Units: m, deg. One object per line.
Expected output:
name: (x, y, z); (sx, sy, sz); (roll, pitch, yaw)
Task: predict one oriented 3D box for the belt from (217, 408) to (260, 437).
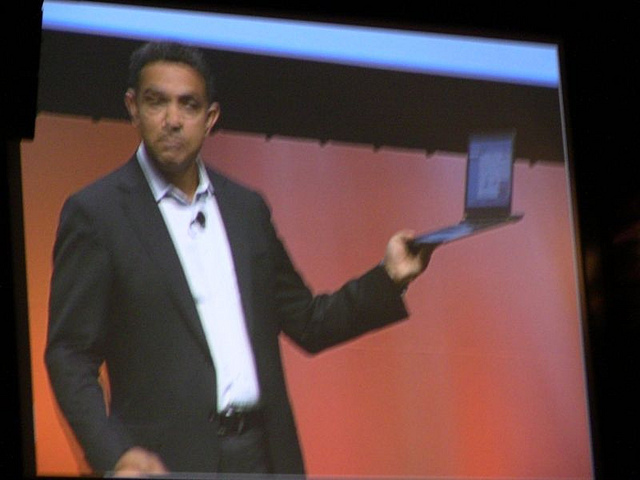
belt: (-0.348, 0.772, 3.939); (0.131, 0.085, 0.107); (-8, -11, 9)
